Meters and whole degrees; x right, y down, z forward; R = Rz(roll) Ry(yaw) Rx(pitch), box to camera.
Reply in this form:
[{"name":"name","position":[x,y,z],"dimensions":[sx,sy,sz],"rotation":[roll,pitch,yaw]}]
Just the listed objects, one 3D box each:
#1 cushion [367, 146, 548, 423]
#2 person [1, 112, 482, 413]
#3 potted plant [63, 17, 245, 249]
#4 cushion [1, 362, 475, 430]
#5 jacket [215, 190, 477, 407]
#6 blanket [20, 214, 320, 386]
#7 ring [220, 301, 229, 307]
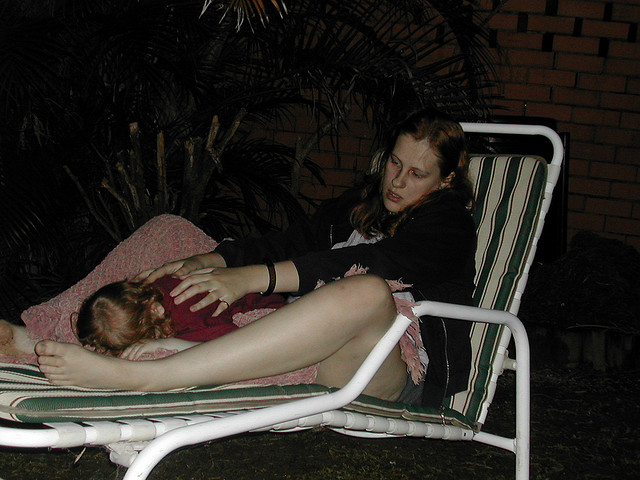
[{"name":"cushion","position":[0.684,0.164,2.417],"dimensions":[0.639,0.995,0.499],"rotation":[16,-5,27]},{"name":"person","position":[-0.064,0.041,2.116],"dimensions":[1.765,0.968,0.957],"rotation":[2,9,-33]},{"name":"potted plant","position":[-0.992,-0.576,3.444],"dimensions":[1.352,1.148,1.123],"rotation":[4,6,7]},{"name":"cushion","position":[-0.272,0.442,1.640],"dimensions":[0.685,0.084,0.306],"rotation":[3,-1,-24]},{"name":"jacket","position":[0.153,0.130,2.130],"dimensions":[0.620,0.783,0.813],"rotation":[-2,2,-38]},{"name":"blanket","position":[-0.723,0.242,2.239],"dimensions":[0.816,0.257,0.979],"rotation":[-15,6,-14]},{"name":"ring","position":[-0.311,0.207,1.868],"dimensions":[0.027,0.018,0.014],"rotation":[6,10,-25]}]
